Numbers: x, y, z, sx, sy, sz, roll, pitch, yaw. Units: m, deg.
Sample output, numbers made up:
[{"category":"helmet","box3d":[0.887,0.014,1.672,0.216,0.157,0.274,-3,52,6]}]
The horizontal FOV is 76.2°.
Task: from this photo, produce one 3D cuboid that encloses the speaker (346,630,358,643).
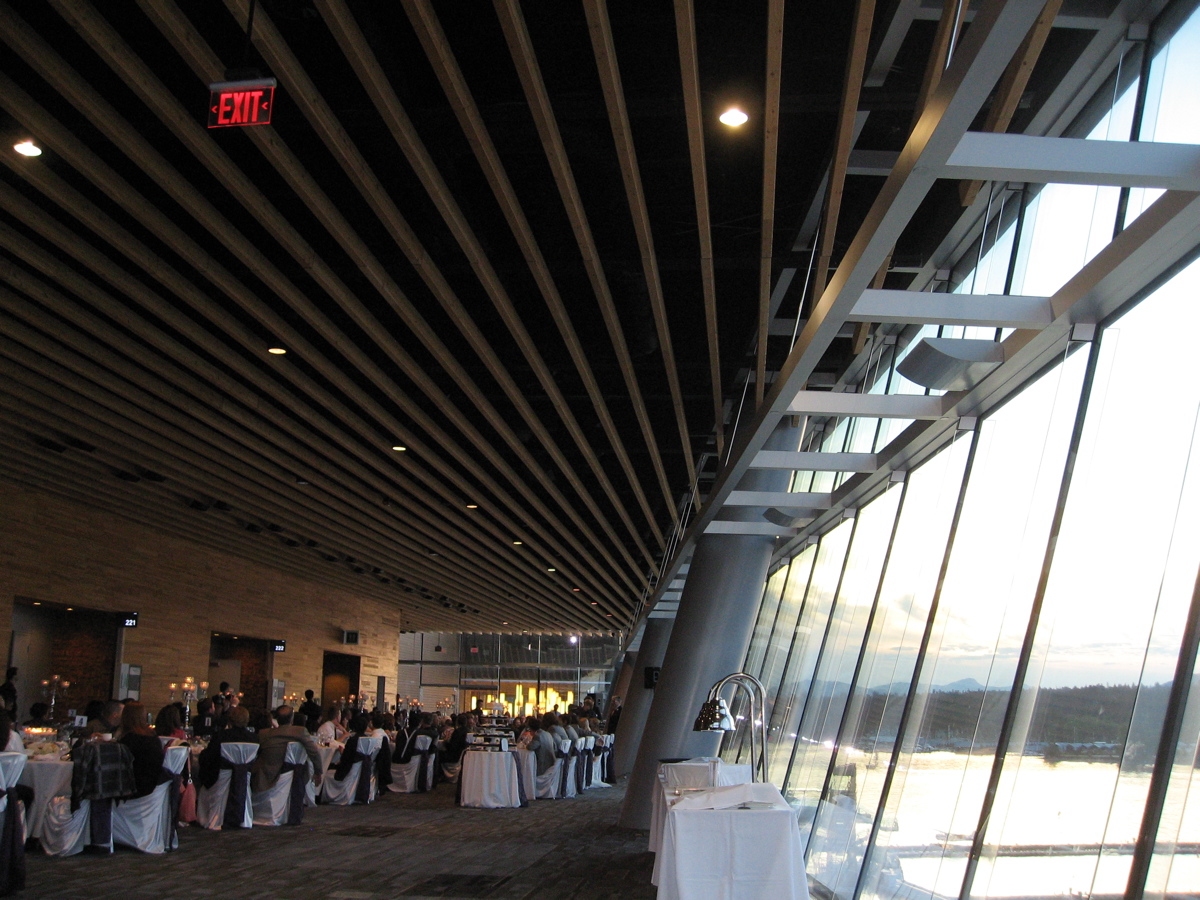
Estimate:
[{"category":"speaker","box3d":[-8.056,5.623,25.077,0.387,0.399,0.298,3,-3,-11]}]
